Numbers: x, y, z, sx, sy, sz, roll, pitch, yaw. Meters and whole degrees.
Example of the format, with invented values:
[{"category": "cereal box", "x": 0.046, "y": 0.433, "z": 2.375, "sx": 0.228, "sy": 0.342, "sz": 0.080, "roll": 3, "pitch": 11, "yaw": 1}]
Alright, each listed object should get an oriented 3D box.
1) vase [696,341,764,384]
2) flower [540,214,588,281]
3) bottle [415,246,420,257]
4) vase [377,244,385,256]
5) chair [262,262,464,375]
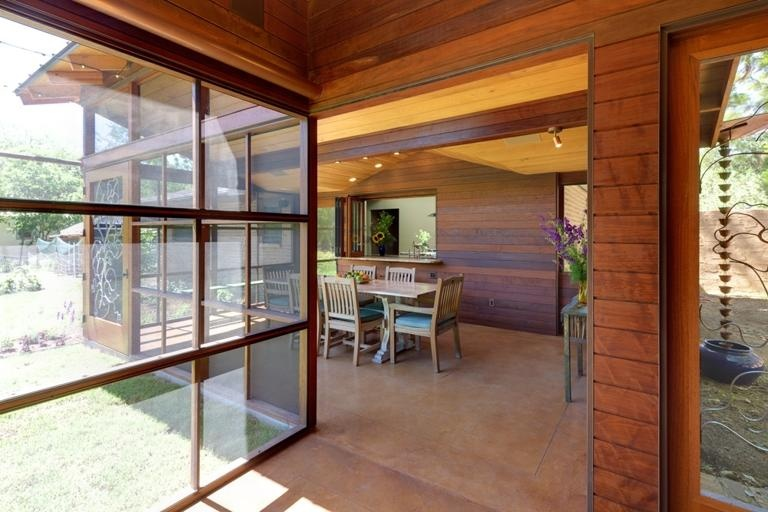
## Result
[{"category": "vase", "x": 1.728, "y": 0.523, "z": 2.431, "sx": 0.282, "sy": 0.140, "sz": 0.240, "roll": 0, "pitch": -3, "yaw": -32}, {"category": "flower", "x": 1.629, "y": -0.060, "z": 4.325, "sx": 0.305, "sy": 0.568, "sz": 0.583, "roll": 1, "pitch": 12, "yaw": 8}, {"category": "bottle", "x": 0.594, "y": -0.117, "z": 8.665, "sx": 0.123, "sy": 0.139, "sz": 0.278, "roll": 0, "pitch": 11, "yaw": 3}, {"category": "vase", "x": -0.104, "y": -0.117, "z": 8.037, "sx": 0.203, "sy": 0.170, "sz": 0.182, "roll": 1, "pitch": 0, "yaw": 15}, {"category": "chair", "x": 0.280, "y": 0.629, "z": 5.198, "sx": 0.963, "sy": 0.978, "sz": 1.279, "roll": -7, "pitch": 13, "yaw": -27}]
